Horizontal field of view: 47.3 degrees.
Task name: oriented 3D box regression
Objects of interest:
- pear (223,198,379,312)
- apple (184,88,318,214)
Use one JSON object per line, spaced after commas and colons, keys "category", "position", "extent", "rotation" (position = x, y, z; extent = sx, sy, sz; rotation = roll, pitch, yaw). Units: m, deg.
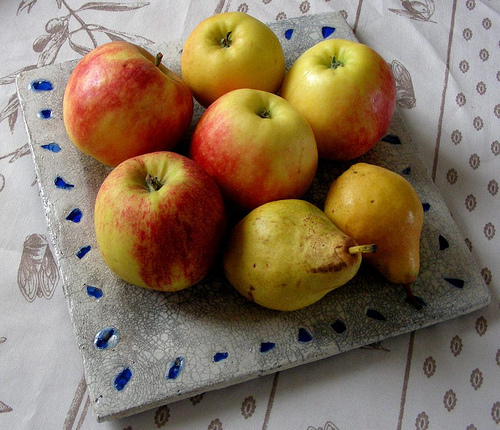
{"category": "pear", "position": [0.074, 0.043, 0.775], "extent": [0.157, 0.231, 0.173], "rotation": [7, 83, -38]}
{"category": "apple", "position": [0.011, -0.099, 0.858], "extent": [0.181, 0.153, 0.196], "rotation": [-6, 48, -20]}
